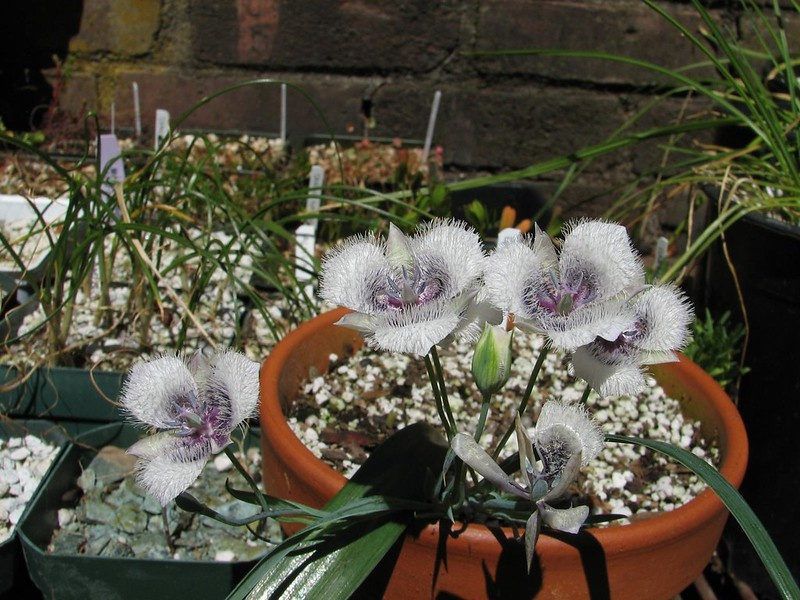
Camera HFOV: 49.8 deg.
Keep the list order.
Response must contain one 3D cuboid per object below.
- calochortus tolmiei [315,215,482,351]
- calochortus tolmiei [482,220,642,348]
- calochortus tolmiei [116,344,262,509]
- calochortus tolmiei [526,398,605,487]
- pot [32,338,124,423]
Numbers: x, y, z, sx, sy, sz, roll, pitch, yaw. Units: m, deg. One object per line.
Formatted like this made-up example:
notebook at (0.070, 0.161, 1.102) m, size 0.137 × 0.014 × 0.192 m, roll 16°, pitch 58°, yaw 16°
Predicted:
calochortus tolmiei at (0.003, -0.003, 1.101) m, size 0.213 × 0.105 × 0.187 m, roll -4°, pitch 42°, yaw 0°
calochortus tolmiei at (0.209, -0.027, 1.096) m, size 0.193 × 0.073 × 0.169 m, roll 16°, pitch 46°, yaw 20°
calochortus tolmiei at (-0.297, 0.170, 1.126) m, size 0.217 × 0.078 × 0.288 m, roll -2°, pitch 28°, yaw -4°
calochortus tolmiei at (0.208, 0.180, 1.097) m, size 0.081 × 0.073 × 0.106 m, roll 30°, pitch 52°, yaw 33°
pot at (-0.569, 0.182, 1.559) m, size 0.139 × 0.107 × 0.164 m, roll 5°, pitch 33°, yaw -8°
